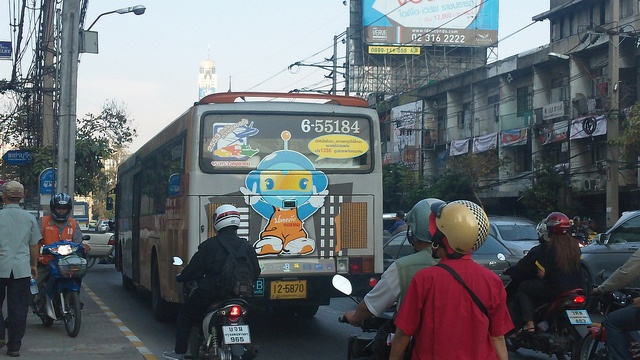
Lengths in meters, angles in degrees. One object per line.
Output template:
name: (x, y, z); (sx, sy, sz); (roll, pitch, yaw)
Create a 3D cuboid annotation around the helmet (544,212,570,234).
helmet: (6.287, 1.149, 23.381); (0.630, 0.557, 0.363); (-3, -2, 11)

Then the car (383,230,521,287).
car: (4.054, 2.234, 27.211); (3.440, 1.436, 1.818); (5, -3, 9)

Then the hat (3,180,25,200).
hat: (-8.415, 0.279, 24.216); (0.465, 0.463, 0.549); (-1, 14, -19)

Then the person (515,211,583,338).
person: (6.099, 2.477, 23.394); (1.595, 3.152, 0.364); (-3, -2, 14)

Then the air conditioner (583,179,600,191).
air conditioner: (14.385, 0.302, 46.793); (0.793, 0.564, 0.556); (3, 0, 5)

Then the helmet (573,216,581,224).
helmet: (11.608, 1.788, 39.983); (0.350, 0.334, 0.355); (-17, -10, 39)
